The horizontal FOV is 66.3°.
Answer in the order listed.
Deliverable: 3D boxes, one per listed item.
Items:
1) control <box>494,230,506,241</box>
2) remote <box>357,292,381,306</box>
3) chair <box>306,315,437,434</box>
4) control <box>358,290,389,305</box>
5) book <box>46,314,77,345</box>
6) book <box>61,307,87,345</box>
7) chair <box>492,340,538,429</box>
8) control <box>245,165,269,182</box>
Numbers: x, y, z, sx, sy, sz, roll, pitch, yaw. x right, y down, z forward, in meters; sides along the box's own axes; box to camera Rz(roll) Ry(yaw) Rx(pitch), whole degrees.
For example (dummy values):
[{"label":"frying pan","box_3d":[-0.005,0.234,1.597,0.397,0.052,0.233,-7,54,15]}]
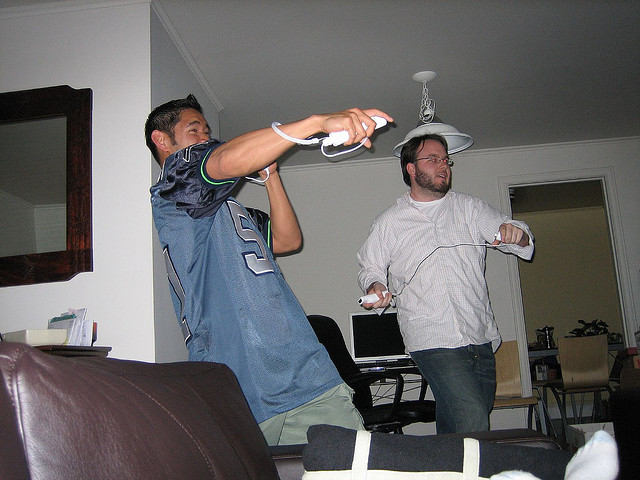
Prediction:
[{"label":"control","box_3d":[0.809,-0.020,2.185,0.033,0.038,0.043,-1,-13,6]},{"label":"remote","box_3d":[0.204,0.246,2.012,0.034,0.035,0.134,-27,-13,30]},{"label":"chair","box_3d":[0.369,0.934,2.937,0.605,0.954,0.641,-16,-14,26]},{"label":"control","box_3d":[0.211,0.232,1.971,0.031,0.040,0.147,28,14,32]},{"label":"book","box_3d":[-1.029,0.344,1.968,0.121,0.121,0.031,0,-29,15]},{"label":"book","box_3d":[-0.977,0.348,1.974,0.124,0.129,0.031,-2,-7,45]},{"label":"chair","box_3d":[1.433,1.176,3.812,0.395,0.741,0.505,-6,-15,12]},{"label":"control","box_3d":[-0.200,-0.223,1.639,0.049,0.050,0.014,26,-1,9]}]
